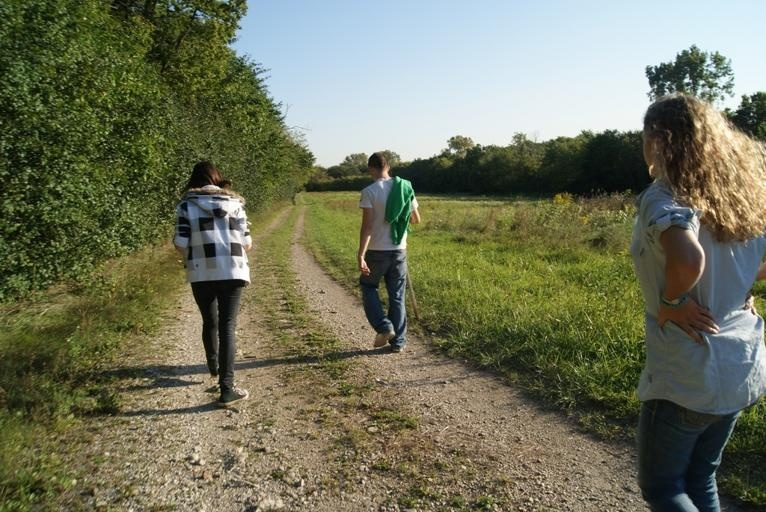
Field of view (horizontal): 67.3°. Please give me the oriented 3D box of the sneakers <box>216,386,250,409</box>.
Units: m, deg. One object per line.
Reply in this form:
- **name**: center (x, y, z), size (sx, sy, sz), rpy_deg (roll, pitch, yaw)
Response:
- **sneakers**: center (-1.979, 1.842, 7.500), size (0.176, 0.216, 0.467), rpy_deg (3, 6, 33)

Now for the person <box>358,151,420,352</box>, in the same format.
- **person**: center (0.055, 0.149, 8.780), size (0.868, 2.648, 0.631), rpy_deg (-2, 9, -8)

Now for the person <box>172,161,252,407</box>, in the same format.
- **person**: center (-2.199, 0.326, 7.633), size (0.883, 3.099, 0.710), rpy_deg (3, 10, 23)
